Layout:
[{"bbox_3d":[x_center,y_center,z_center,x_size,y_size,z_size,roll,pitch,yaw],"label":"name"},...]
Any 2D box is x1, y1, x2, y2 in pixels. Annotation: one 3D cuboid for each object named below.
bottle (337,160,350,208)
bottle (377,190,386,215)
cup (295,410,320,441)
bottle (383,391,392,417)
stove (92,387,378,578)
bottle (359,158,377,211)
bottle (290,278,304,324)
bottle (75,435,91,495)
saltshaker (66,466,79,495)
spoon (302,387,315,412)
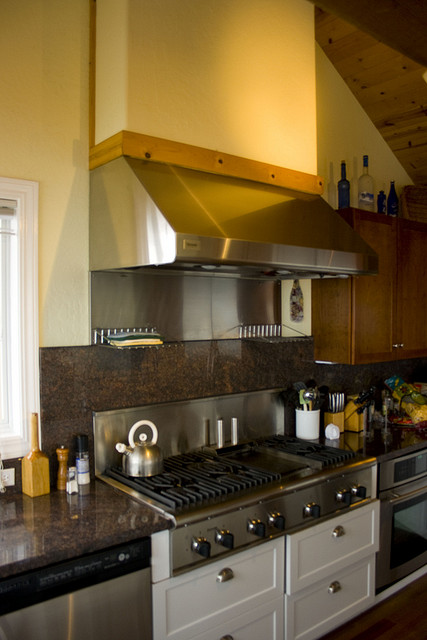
[{"bbox_3d":[0.790,-0.826,3.125,0.064,0.284,0.151,-1,0,12],"label":"bottle"},{"bbox_3d":[1.108,-0.770,3.359,0.047,0.152,0.044,-1,0,0],"label":"bottle"},{"bbox_3d":[0.536,0.595,2.909,0.143,0.167,0.148,-1,-3,0],"label":"cup"},{"bbox_3d":[1.171,0.589,3.451,0.056,0.156,0.176,-1,0,26],"label":"bottle"},{"bbox_3d":[0.138,0.663,2.369,1.229,0.540,0.646,0,-2,-42],"label":"stove"},{"bbox_3d":[0.958,-0.847,3.195,0.073,0.323,0.152,-1,0,26],"label":"bottle"},{"bbox_3d":[0.512,-0.115,3.138,0.016,0.264,0.150,-1,0,39],"label":"bottle"},{"bbox_3d":[-0.524,0.572,2.054,0.057,0.237,0.146,-1,0,-16],"label":"bottle"},{"bbox_3d":[-0.563,0.631,2.037,0.048,0.107,0.116,-1,0,-16],"label":"saltshaker"},{"bbox_3d":[0.535,0.450,2.896,0.046,0.126,0.063,2,14,-1],"label":"spoon"}]
